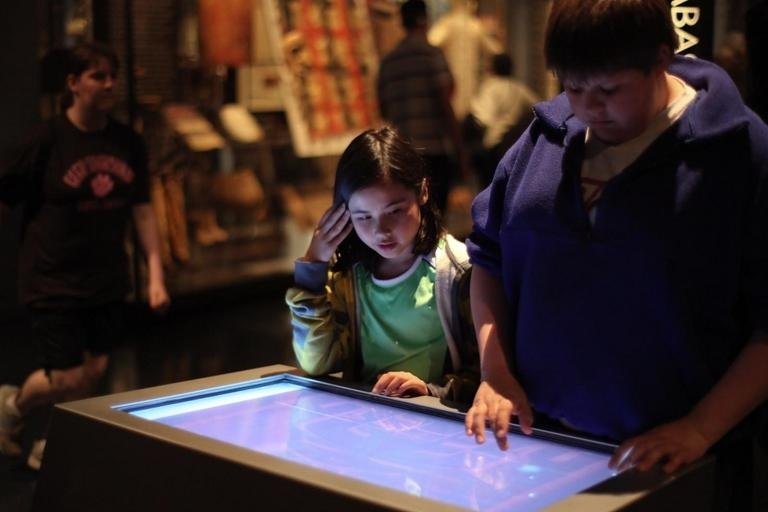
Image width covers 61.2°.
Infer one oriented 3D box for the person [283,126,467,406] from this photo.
[{"bbox_3d":[0.001,0.071,1.958,0.596,0.829,0.576,-3,6,-2],"label":"person"}]
